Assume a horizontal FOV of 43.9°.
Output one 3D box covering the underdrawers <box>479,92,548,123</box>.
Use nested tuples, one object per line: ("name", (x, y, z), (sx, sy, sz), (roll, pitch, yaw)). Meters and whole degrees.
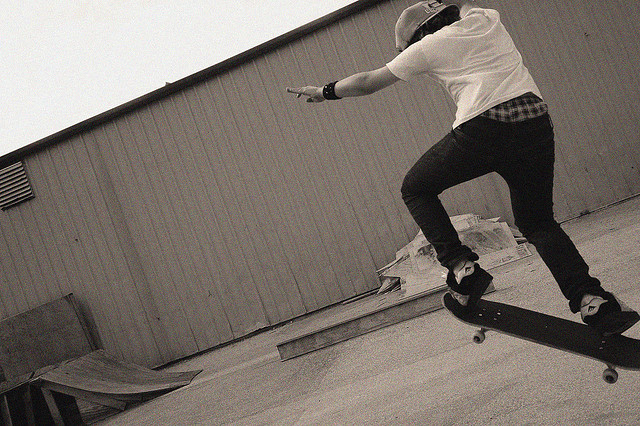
("underdrawers", (2.576, -1.378, 10.549), (0.786, 0.393, 0.184), (-16, 6, -10))
